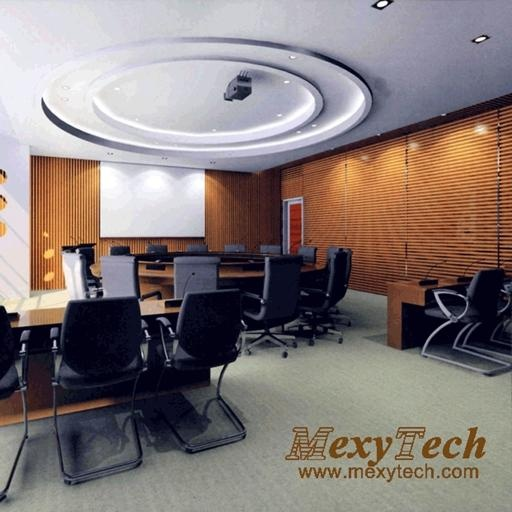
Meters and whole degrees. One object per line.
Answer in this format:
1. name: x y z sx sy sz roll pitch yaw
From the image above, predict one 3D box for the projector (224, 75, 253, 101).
1. projector: -0.240 -2.377 5.897 0.262 0.280 0.527 -2 8 -21
